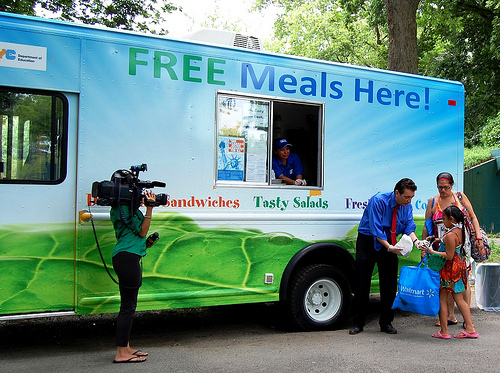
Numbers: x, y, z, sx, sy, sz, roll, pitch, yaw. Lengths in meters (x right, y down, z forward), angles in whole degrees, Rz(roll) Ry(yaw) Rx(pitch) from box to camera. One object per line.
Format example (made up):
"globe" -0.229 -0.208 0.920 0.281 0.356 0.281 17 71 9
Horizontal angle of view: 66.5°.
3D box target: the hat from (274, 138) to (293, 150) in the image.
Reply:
"hat" 0.502 -0.652 5.923 0.151 0.112 0.205 -13 4 -41

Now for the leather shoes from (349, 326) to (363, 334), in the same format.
"leather shoes" 1.527 2.056 5.485 0.081 0.084 0.211 -9 -15 40

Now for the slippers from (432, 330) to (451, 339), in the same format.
"slippers" 2.686 2.057 5.332 0.099 0.097 0.232 -3 3 -40

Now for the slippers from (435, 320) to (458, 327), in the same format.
"slippers" 3.047 2.112 5.946 0.400 0.105 0.151 2 -3 -9

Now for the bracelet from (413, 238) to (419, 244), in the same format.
"bracelet" 2.326 0.763 5.290 0.075 0.023 0.073 -27 14 -16

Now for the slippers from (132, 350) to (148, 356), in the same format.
"slippers" -1.291 1.948 4.477 0.190 0.048 0.069 1 4 -45

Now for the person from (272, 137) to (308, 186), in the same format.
"person" 0.582 -0.371 5.942 0.446 0.605 0.793 -11 15 -23

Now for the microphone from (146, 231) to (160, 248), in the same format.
"microphone" -1.137 0.619 4.486 0.189 0.110 0.070 -44 10 24

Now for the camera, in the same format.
"camera" -1.445 -0.007 4.357 0.858 0.603 0.417 0 1 -29

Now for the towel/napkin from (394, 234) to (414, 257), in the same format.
"towel/napkin" 2.075 0.787 5.059 0.262 0.262 0.103 36 -1 7

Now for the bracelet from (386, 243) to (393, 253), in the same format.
"bracelet" 1.911 0.841 5.190 0.088 0.098 0.043 -3 6 -32

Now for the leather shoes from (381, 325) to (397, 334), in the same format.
"leather shoes" 2.027 2.060 5.569 0.095 0.106 0.252 1 -8 -29

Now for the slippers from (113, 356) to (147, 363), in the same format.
"slippers" -1.377 1.973 4.399 0.279 0.055 0.133 -1 -1 -9

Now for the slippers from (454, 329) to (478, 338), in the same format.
"slippers" 3.026 2.044 5.314 0.302 0.092 0.125 1 -6 12

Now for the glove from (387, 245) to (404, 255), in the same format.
"glove" 1.961 0.842 5.133 0.152 0.057 0.114 14 1 28
